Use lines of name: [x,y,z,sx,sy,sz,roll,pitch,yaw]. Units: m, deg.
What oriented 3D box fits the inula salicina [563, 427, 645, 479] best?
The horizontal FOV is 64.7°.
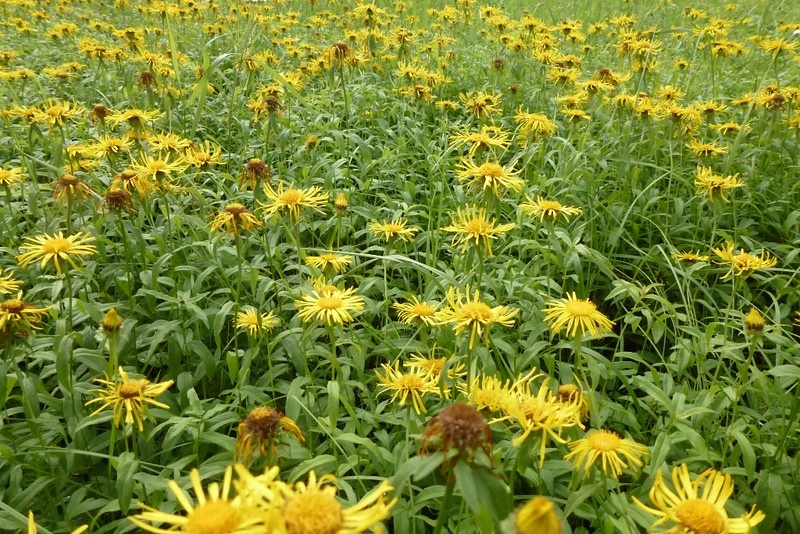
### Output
inula salicina: [1.091,1.060,3.328,0.346,0.161,0.350,-4,16,5]
